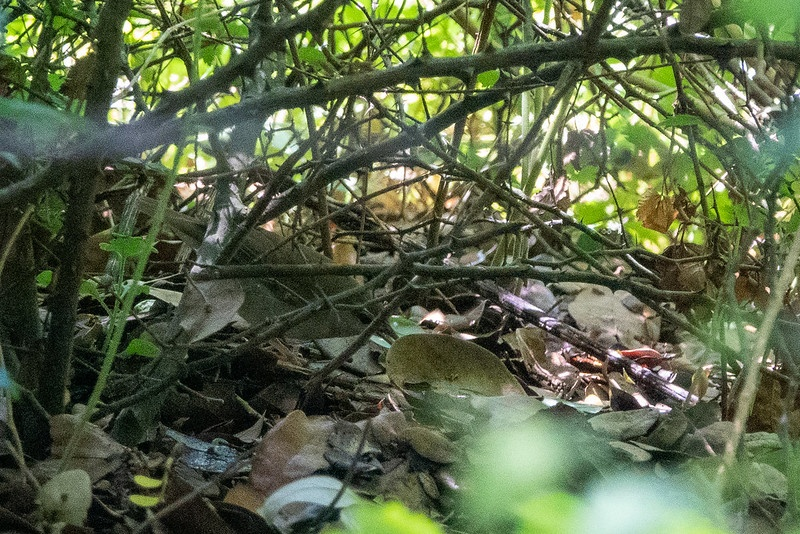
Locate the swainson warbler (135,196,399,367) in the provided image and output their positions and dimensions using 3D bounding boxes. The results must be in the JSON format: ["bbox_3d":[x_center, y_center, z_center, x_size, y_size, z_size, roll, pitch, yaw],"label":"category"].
[{"bbox_3d":[-0.274,0.044,1.917,0.682,0.340,0.639,15,-10,-41],"label":"swainson warbler"}]
